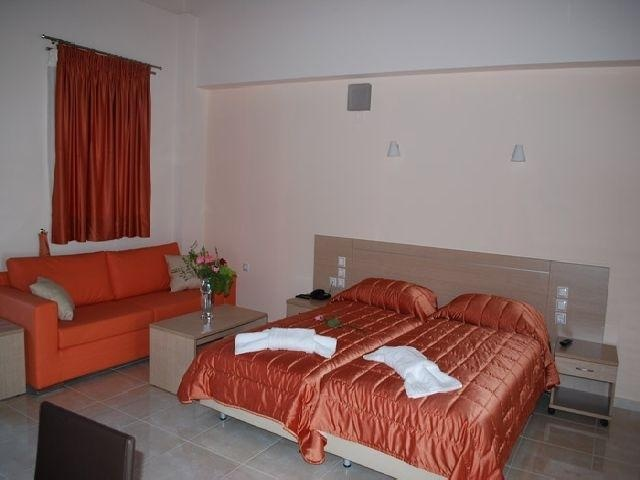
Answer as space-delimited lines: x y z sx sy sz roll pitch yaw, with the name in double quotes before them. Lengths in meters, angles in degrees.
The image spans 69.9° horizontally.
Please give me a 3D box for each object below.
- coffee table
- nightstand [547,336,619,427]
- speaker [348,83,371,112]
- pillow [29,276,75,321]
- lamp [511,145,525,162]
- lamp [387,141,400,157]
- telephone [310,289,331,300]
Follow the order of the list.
"coffee table" -1.215 0.773 4.609 0.642 0.684 1.231 9 10 30
"nightstand" 2.404 1.343 4.433 0.650 0.822 0.658 3 5 30
"speaker" 0.461 -1.653 5.290 0.280 0.293 0.123 4 14 9
"pillow" -2.668 0.610 4.555 0.354 0.355 0.650 -7 16 -33
"lamp" 1.994 -0.874 4.594 0.162 0.174 0.108 1 -1 38
"lamp" 0.832 -1.019 5.137 0.144 0.174 0.155 3 13 10
"telephone" -0.005 0.632 5.466 0.196 0.086 0.118 4 6 26
